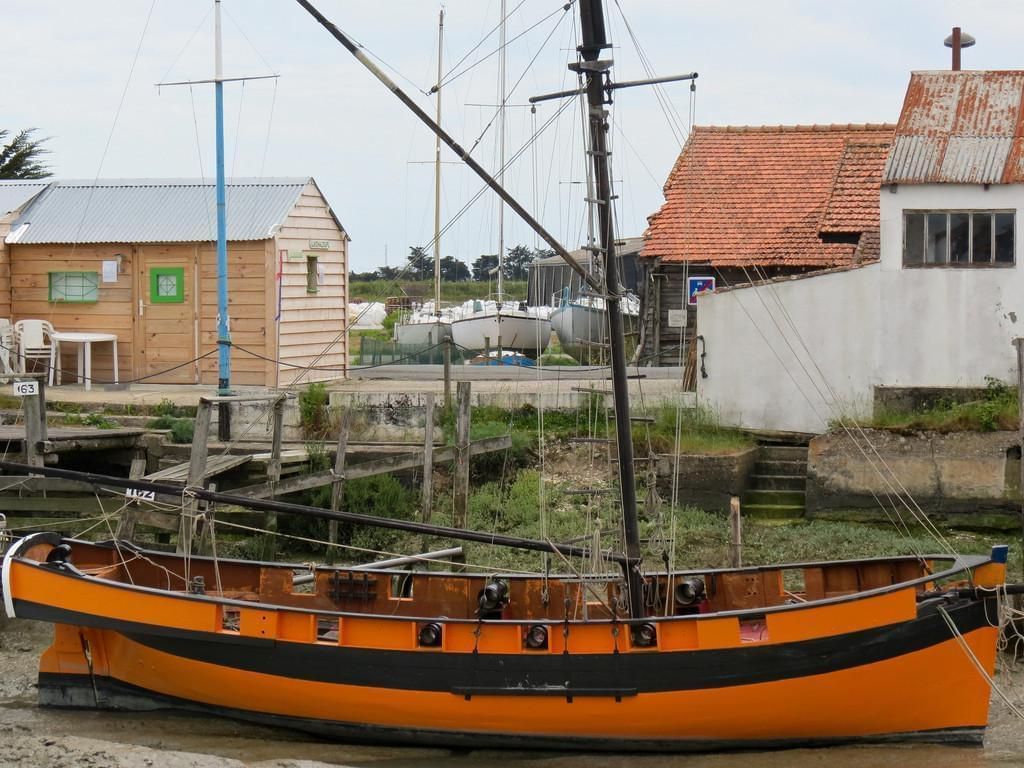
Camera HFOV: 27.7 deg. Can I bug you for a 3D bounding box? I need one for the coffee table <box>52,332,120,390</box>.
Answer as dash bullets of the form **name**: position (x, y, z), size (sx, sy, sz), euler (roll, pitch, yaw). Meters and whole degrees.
- **coffee table**: position (-8.833, -0.563, 42.190), size (1.224, 1.243, 1.264), euler (-1, -2, 20)
